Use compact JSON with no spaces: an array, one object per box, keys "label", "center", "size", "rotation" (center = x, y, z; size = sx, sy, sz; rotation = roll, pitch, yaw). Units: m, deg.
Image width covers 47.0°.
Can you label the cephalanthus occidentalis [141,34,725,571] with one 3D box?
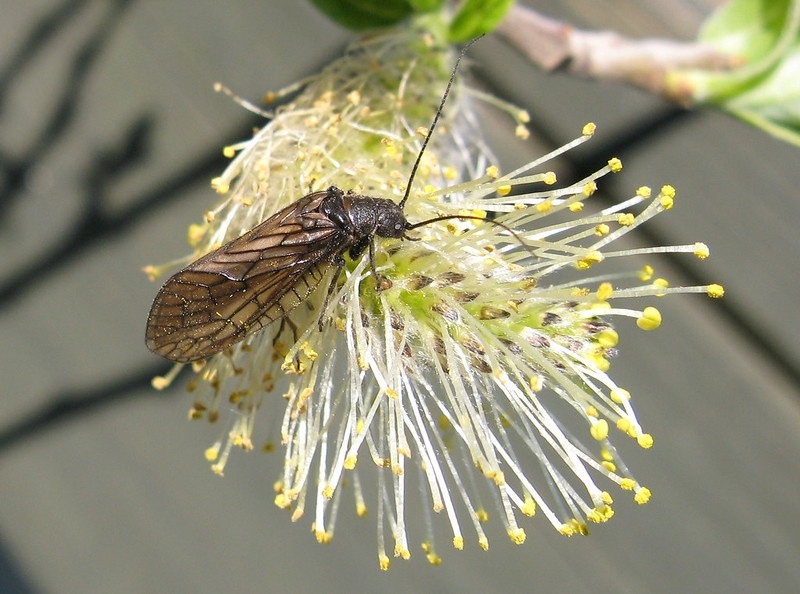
[{"label":"cephalanthus occidentalis","center":[-0.029,0.113,1.762],"size":[1.014,0.453,0.903],"rotation":[3,58,4]}]

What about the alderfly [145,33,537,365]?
[{"label":"alderfly","center":[-0.155,-0.035,1.561],"size":[0.575,0.188,0.210],"rotation":[-31,64,-14]}]
